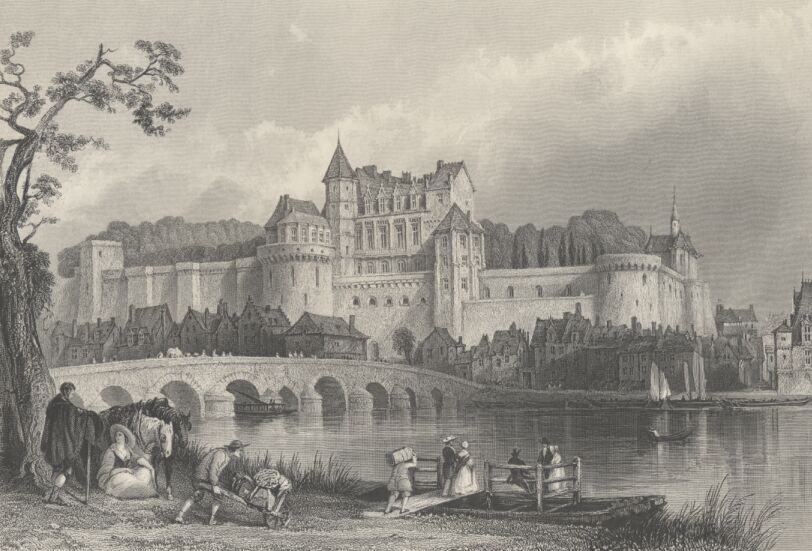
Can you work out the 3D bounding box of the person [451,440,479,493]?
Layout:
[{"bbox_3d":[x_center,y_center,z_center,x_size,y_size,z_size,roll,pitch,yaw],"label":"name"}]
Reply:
[{"bbox_3d":[1.335,4.429,44.290,0.516,1.011,0.564,2,-1,0],"label":"person"}]
